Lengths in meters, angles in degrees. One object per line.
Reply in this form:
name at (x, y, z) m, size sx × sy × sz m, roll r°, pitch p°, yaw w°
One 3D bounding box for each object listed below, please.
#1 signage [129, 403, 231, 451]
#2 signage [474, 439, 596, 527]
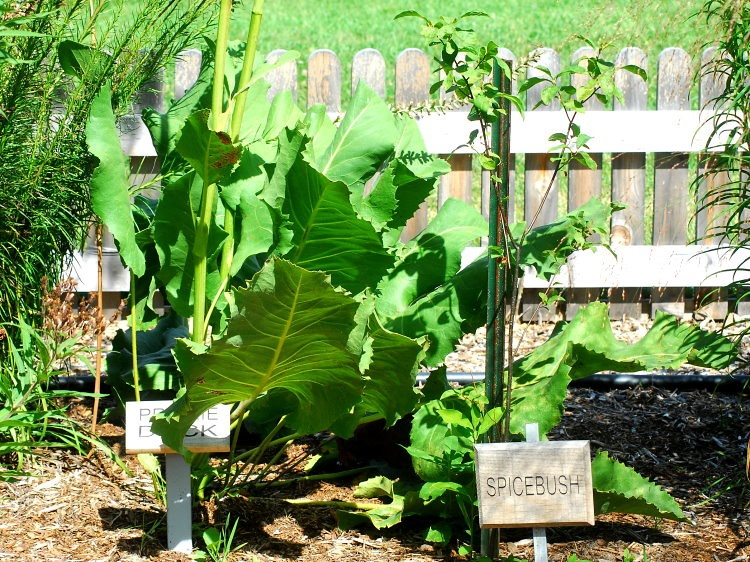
signage at (-0.583, 0.442, 3.084) m, size 0.297 × 0.184 × 0.137 m, roll 2°, pitch 10°, yaw -13°
signage at (0.444, 0.566, 2.925) m, size 0.213 × 0.179 × 0.030 m, roll -2°, pitch -6°, yaw -1°
